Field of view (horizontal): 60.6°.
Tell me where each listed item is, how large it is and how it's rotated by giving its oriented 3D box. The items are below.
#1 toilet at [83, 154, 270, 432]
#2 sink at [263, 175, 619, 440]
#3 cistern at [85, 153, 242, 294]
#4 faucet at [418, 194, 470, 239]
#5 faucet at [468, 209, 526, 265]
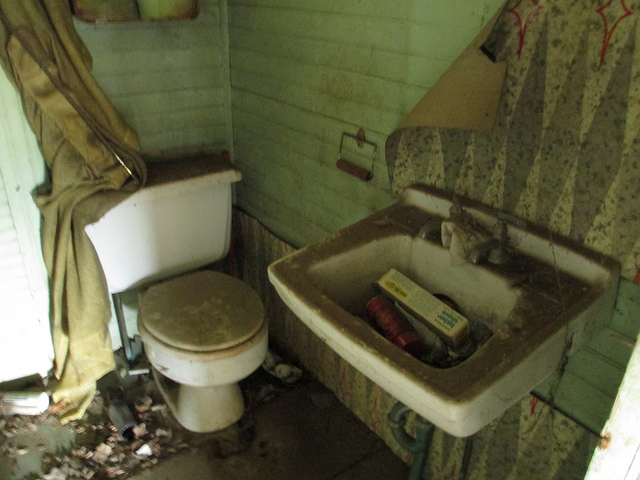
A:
[{"bbox_3d":[-0.602,0.232,2.206,0.571,0.863,0.751,-23,43,-27],"label":"toilet"},{"bbox_3d":[0.333,0.147,1.532,0.808,0.333,0.638,30,45,33],"label":"sink"},{"bbox_3d":[-0.712,-0.132,2.362,0.406,0.500,0.671,37,41,29],"label":"cistern"},{"bbox_3d":[0.383,-0.087,1.682,0.144,0.110,0.167,9,37,10],"label":"faucet"},{"bbox_3d":[0.506,-0.001,1.563,0.107,0.126,0.150,24,42,28],"label":"faucet"}]
